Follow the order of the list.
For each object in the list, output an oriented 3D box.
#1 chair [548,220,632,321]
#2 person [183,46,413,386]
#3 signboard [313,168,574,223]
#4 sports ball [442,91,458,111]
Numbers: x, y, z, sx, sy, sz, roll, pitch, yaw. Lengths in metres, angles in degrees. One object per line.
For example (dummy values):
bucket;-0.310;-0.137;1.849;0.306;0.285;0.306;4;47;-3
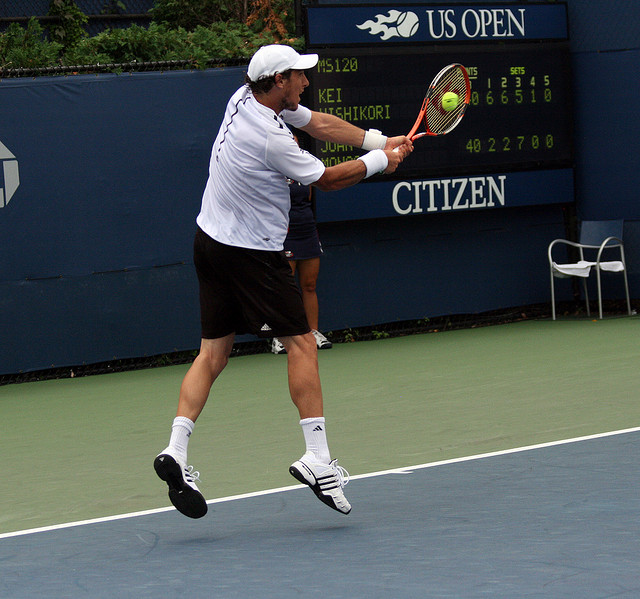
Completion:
chair;3.269;-0.382;8.740;0.933;1.217;1.056;-4;4;16
person;-0.022;-0.379;3.270;0.679;1.403;1.206;-4;4;30
signboard;1.526;-1.229;8.232;3.499;0.527;0.142;-5;3;-24
sports ball;1.022;-1.602;5.770;0.125;0.128;0.145;4;17;7
